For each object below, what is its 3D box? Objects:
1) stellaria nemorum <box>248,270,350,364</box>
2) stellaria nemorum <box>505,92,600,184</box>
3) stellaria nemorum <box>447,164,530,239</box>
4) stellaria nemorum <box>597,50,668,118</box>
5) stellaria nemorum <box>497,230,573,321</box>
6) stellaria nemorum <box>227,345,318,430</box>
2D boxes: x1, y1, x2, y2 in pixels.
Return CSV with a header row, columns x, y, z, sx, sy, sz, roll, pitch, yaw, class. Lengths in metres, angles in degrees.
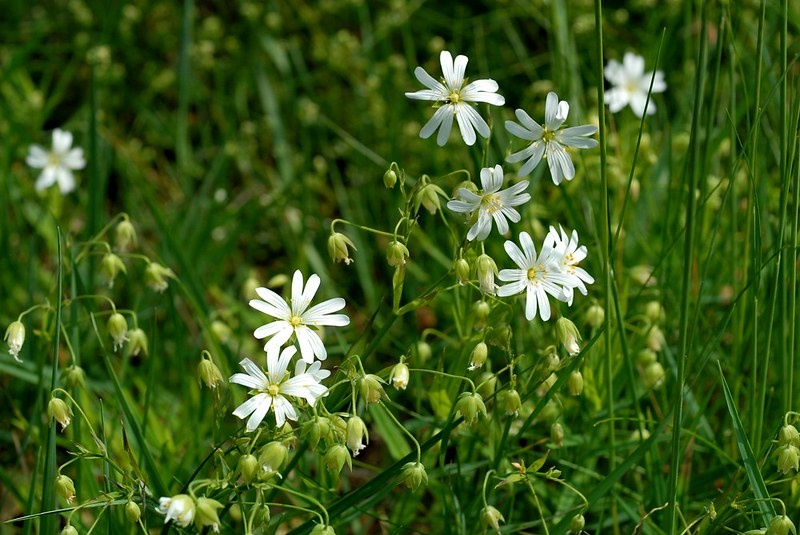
x,y,z,sx,sy,sz,roll,pitch,yaw,class
-0.321,0.165,2.824,0.359,0.142,0.409,7,17,30,stellaria nemorum
0.490,-0.387,2.964,0.289,0.361,0.238,-6,33,7,stellaria nemorum
0.288,-0.209,2.872,0.278,0.199,0.150,-25,36,-17,stellaria nemorum
1.114,-0.890,4.462,0.298,0.102,0.322,-1,0,35,stellaria nemorum
0.417,-0.012,2.887,0.201,0.201,0.095,-12,69,-6,stellaria nemorum
-0.396,0.378,2.795,0.261,0.110,0.303,12,20,21,stellaria nemorum
